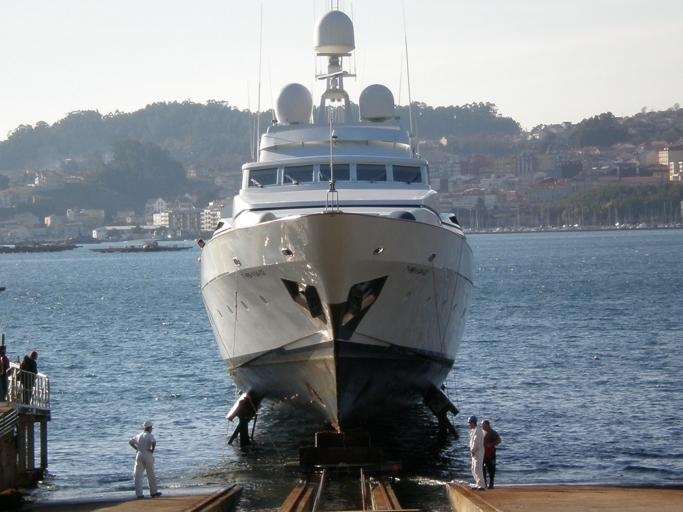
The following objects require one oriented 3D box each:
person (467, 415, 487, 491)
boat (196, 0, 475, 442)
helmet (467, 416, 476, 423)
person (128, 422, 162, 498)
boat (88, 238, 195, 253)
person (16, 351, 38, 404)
[{"bbox_3d":[4.616,6.730,44.655,0.514,2.452,1.227,-1,-1,5],"label":"person"},{"bbox_3d":[-0.339,-1.814,49.664,10.540,16.526,9.481,-1,-1,-1],"label":"boat"},{"bbox_3d":[4.413,5.614,44.312,0.240,0.225,0.358,0,-7,9],"label":"helmet"},{"bbox_3d":[-6.761,6.998,44.597,0.925,2.574,1.012,-1,-1,-9],"label":"person"},{"bbox_3d":[-35.951,-1.798,233.970,14.663,2.054,2.683,-3,-7,20],"label":"boat"},{"bbox_3d":[-11.393,4.442,47.171,0.593,1.864,1.092,-1,-1,-12],"label":"person"}]
